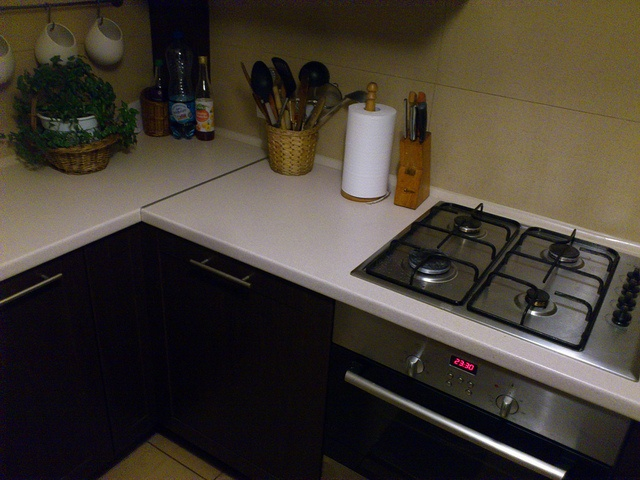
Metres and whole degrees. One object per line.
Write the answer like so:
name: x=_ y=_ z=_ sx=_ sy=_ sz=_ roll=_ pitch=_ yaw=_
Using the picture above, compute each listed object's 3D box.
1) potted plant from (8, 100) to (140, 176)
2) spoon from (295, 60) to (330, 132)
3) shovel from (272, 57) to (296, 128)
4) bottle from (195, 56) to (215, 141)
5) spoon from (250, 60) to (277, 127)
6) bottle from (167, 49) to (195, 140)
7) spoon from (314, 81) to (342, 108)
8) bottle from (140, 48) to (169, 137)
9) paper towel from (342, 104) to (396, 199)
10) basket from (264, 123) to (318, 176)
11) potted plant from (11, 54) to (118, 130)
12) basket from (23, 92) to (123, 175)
potted plant: x=-0.907 y=-0.350 z=1.897 sx=0.274 sy=0.142 sz=0.274 roll=0 pitch=27 yaw=-12
spoon: x=-0.027 y=-0.551 z=1.930 sx=0.113 sy=0.246 sz=0.134 roll=3 pitch=27 yaw=0
shovel: x=-0.122 y=-0.576 z=2.026 sx=0.084 sy=0.077 sz=0.433 roll=5 pitch=-13 yaw=10
bottle: x=-0.506 y=-0.627 z=2.198 sx=0.082 sy=0.357 sz=0.168 roll=-3 pitch=28 yaw=-12
spoon: x=-0.209 y=-0.582 z=1.951 sx=0.075 sy=0.286 sz=0.047 roll=-9 pitch=23 yaw=9
bottle: x=-0.598 y=-0.639 z=2.177 sx=0.112 sy=0.372 sz=0.151 roll=-4 pitch=28 yaw=-14
spoon: x=0.052 y=-0.559 z=1.930 sx=0.073 sy=0.095 sz=0.018 roll=11 pitch=16 yaw=12
bottle: x=-0.718 y=-0.607 z=2.194 sx=0.113 sy=0.281 sz=0.125 roll=-6 pitch=28 yaw=-17
paper towel: x=0.169 y=-0.308 z=1.797 sx=0.165 sy=0.319 sz=0.103 roll=6 pitch=27 yaw=5
basket: x=-0.120 y=-0.371 z=2.012 sx=0.182 sy=0.156 sz=0.187 roll=9 pitch=20 yaw=14
potted plant: x=-0.949 y=-0.541 z=1.852 sx=0.340 sy=0.266 sz=0.300 roll=25 pitch=35 yaw=35
basket: x=-0.904 y=-0.332 z=1.900 sx=0.261 sy=0.128 sz=0.268 roll=-1 pitch=21 yaw=-5
